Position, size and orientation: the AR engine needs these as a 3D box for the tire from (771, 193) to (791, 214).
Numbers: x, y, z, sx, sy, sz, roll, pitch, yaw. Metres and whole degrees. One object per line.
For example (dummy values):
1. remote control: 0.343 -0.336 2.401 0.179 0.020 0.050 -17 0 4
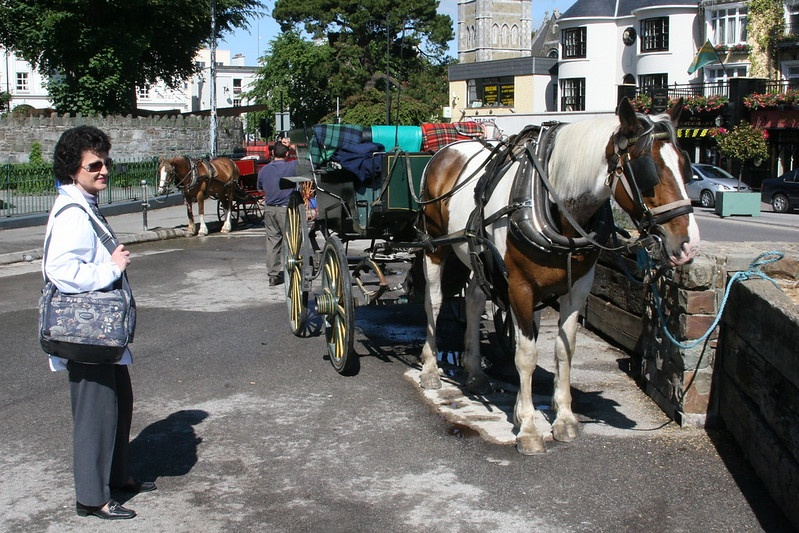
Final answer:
1. tire: 15.914 -2.631 30.868 0.241 0.789 0.705 2 8 -22

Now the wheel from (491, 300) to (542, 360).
1. wheel: 1.635 0.880 9.913 0.271 0.890 0.810 4 5 0

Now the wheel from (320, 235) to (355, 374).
1. wheel: -0.802 0.521 9.465 0.361 1.398 1.286 0 20 -16

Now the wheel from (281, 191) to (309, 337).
1. wheel: -1.547 0.016 10.999 0.382 2.241 2.015 0 4 -12

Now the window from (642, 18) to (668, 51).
1. window: 17.936 -16.211 51.792 0.291 2.213 2.282 -4 9 -24

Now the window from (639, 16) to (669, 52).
1. window: 17.896 -16.266 51.841 0.254 2.464 2.552 -4 10 -22

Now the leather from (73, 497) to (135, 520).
1. leather: -2.523 2.107 6.379 0.496 0.192 0.207 2 4 -8

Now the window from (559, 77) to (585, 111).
1. window: 13.603 -13.618 58.224 0.304 3.229 2.620 -6 8 -30

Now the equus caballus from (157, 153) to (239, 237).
1. equus caballus: -5.779 -2.090 21.811 0.993 2.376 2.853 11 15 37

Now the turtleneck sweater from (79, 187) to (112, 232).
1. turtleneck sweater: -2.660 -0.524 6.435 0.264 0.225 0.396 -18 43 -15
